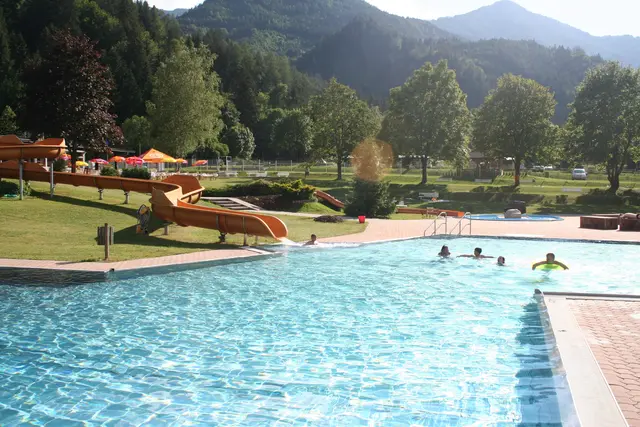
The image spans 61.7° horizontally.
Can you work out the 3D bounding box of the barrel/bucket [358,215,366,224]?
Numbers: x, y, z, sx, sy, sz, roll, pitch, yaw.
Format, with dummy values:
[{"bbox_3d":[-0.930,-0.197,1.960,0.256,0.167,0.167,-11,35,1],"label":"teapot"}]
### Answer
[{"bbox_3d":[2.628,0.432,34.217,0.637,0.412,0.458,4,14,12],"label":"barrel/bucket"}]
